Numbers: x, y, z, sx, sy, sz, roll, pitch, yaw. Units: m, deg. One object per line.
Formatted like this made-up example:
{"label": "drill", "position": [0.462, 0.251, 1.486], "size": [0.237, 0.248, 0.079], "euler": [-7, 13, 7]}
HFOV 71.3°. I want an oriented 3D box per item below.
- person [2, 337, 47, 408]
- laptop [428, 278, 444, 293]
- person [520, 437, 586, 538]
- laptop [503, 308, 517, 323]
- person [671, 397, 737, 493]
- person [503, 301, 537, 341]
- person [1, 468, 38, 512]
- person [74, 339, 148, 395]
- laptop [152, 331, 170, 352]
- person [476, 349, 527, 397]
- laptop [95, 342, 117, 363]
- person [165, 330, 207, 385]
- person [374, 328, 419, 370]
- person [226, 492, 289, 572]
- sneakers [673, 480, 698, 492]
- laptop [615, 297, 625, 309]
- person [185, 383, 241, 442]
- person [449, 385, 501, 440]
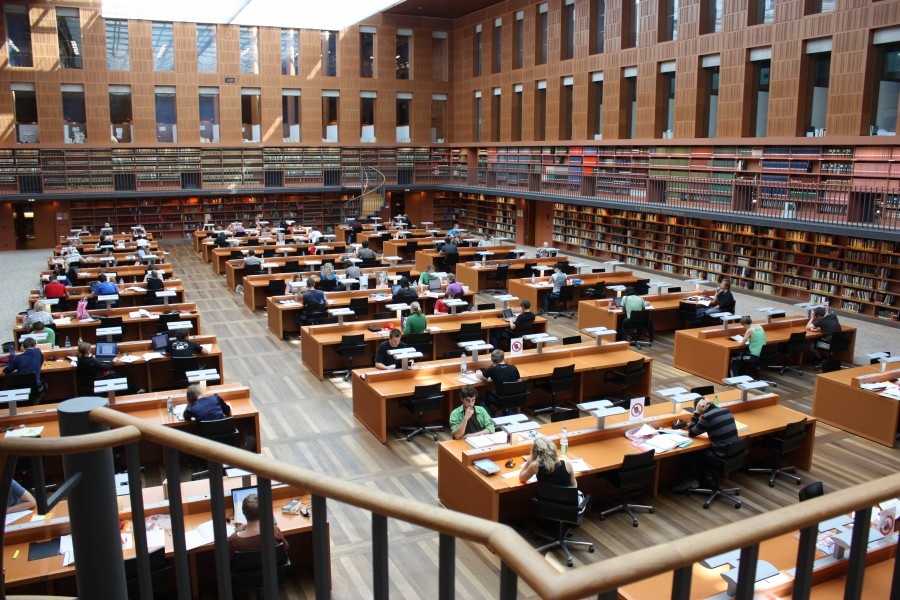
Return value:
{"label": "person", "position": [-6.973, 1.176, 10.205], "size": [0.570, 1.061, 0.671], "euler": [-8, 15, -32]}
{"label": "laptop", "position": [-0.378, -0.383, 16.420], "size": [0.532, 0.292, 0.389], "euler": [-10, 17, -41]}
{"label": "person", "position": [1.176, 2.044, 7.238], "size": [0.731, 0.939, 0.303], "euler": [4, 14, 20]}
{"label": "laptop", "position": [1.327, 0.319, 13.735], "size": [0.366, 0.211, 0.285], "euler": [-12, 21, -35]}
{"label": "person", "position": [3.510, 2.013, 8.553], "size": [0.553, 1.305, 0.787], "euler": [-7, 14, -27]}
{"label": "person", "position": [1.527, 0.502, 13.612], "size": [0.609, 0.956, 0.639], "euler": [-8, 13, -31]}
{"label": "person", "position": [-4.314, 1.846, 6.226], "size": [0.202, 0.446, 0.804], "euler": [-10, 15, -37]}
{"label": "person", "position": [-5.704, 1.150, 10.524], "size": [1.048, 0.812, 0.708], "euler": [-6, 11, -43]}
{"label": "laptop", "position": [-5.252, 0.769, 11.329], "size": [0.261, 0.253, 0.318], "euler": [7, 12, 40]}
{"label": "person", "position": [0.795, 1.202, 10.300], "size": [0.682, 0.739, 0.694], "euler": [-5, 12, 5]}
{"label": "laptop", "position": [-5.830, 0.886, 10.551], "size": [0.445, 0.279, 0.300], "euler": [1, 9, -13]}
{"label": "person", "position": [-4.711, 1.021, 11.173], "size": [0.939, 0.790, 1.302], "euler": [0, -1, -20]}
{"label": "person", "position": [-1.016, 0.945, 11.066], "size": [0.707, 0.814, 0.483], "euler": [-6, 20, -30]}
{"label": "person", "position": [-1.898, 2.356, 6.100], "size": [0.698, 0.895, 0.565], "euler": [-1, 10, -13]}
{"label": "sneakers", "position": [3.293, 2.584, 8.720], "size": [0.372, 0.125, 0.122], "euler": [-3, 1, -13]}
{"label": "laptop", "position": [4.012, 0.057, 14.946], "size": [0.284, 0.224, 0.067], "euler": [3, -15, 41]}
{"label": "person", "position": [-3.301, 1.635, 8.604], "size": [0.711, 0.954, 0.560], "euler": [2, 13, 11]}
{"label": "person", "position": [0.304, 1.543, 8.561], "size": [0.614, 0.698, 0.687], "euler": [-7, 14, -30]}
